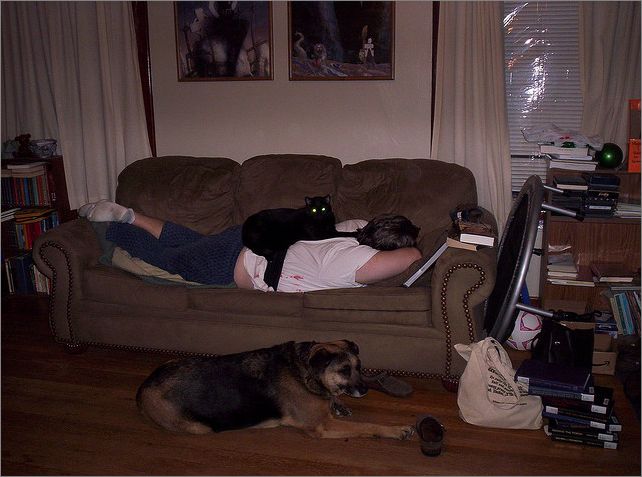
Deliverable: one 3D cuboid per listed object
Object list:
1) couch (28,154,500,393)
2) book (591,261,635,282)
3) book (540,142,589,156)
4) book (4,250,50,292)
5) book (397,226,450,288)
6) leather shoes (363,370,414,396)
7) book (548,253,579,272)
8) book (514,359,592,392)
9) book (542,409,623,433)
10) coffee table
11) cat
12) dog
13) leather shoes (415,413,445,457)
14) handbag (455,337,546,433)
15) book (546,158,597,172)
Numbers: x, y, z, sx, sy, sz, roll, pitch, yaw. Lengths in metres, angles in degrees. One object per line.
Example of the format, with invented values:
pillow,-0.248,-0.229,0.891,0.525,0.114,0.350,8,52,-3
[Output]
couch,-0.363,0.116,4.002,3.125,1.277,1.210,2,15,13
book,2.119,0.230,3.928,0.180,0.043,0.183,4,21,16
book,1.774,-0.639,3.921,0.333,0.088,0.085,1,16,9
book,-2.429,0.267,4.469,0.173,0.288,0.309,1,12,15
book,0.655,0.149,3.401,0.279,0.317,0.175,-3,16,-3
leather shoes,0.421,0.891,3.424,0.297,0.099,0.129,8,32,23
book,1.772,0.181,3.983,0.158,0.042,0.160,2,32,23
book,1.322,0.778,3.092,0.210,0.051,0.211,7,17,25
book,1.481,1.011,3.028,0.201,0.047,0.204,5,-1,17
coffee table,1.165,0.071,3.386,0.253,0.970,0.935,8,27,0
cat,-0.222,-0.077,3.741,0.654,0.322,0.362,-11,21,11
dog,-0.328,0.813,3.275,1.678,0.557,0.618,1,0,-3
leather shoes,0.622,1.098,3.058,0.171,0.148,0.219,0,16,8
handbag,1.028,0.865,3.153,0.444,0.422,0.249,7,19,23
book,1.814,-0.529,3.904,0.308,0.091,0.036,1,16,10
